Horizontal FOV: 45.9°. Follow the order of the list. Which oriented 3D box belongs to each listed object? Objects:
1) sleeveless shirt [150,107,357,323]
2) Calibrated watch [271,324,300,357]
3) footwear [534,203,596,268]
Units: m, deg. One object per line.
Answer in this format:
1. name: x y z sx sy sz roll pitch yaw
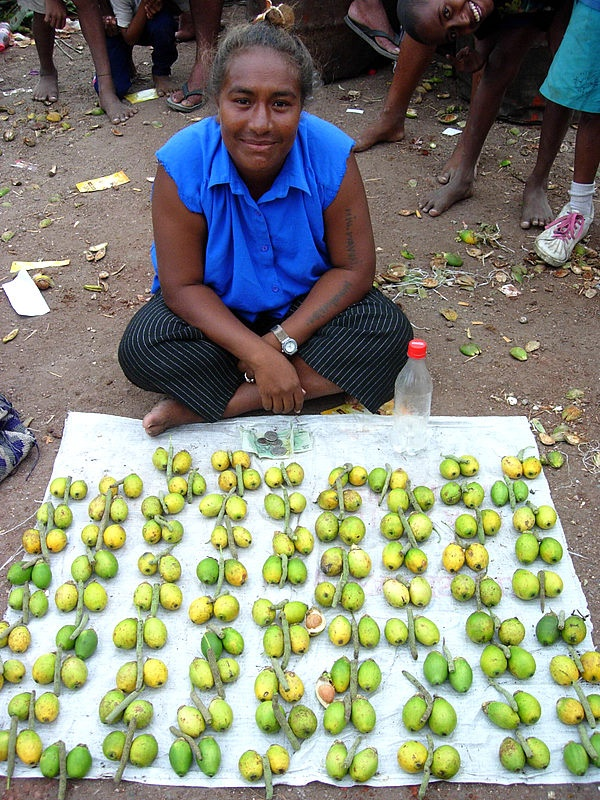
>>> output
1. sleeveless shirt: -0.158 -0.657 2.580 0.875 0.840 0.458 -5 57 -4
2. Calibrated watch: -0.056 -0.230 2.725 0.076 0.125 0.123 -30 7 -9
3. footwear: 1.442 -0.953 3.817 0.179 0.188 0.483 39 60 7
